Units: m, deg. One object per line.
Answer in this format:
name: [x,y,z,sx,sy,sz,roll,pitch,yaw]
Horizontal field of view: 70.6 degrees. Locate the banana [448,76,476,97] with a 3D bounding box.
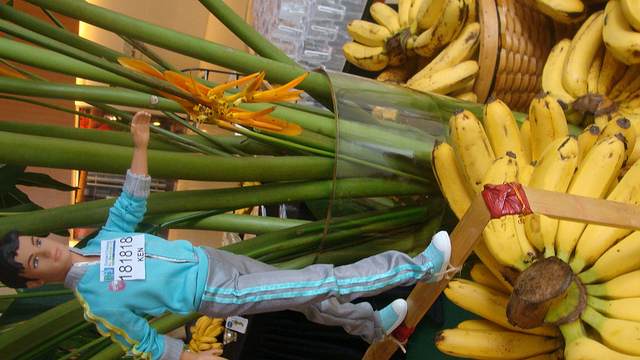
banana: [0.632,-0.397,1.993,0.143,0.038,0.047,-42,6,-6]

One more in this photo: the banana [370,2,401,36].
banana: [0.310,-0.794,2.229,0.098,0.078,0.285,35,10,-29]

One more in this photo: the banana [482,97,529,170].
banana: [0.585,-0.160,1.485,0.091,0.273,0.089,-25,7,-1]

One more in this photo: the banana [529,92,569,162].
banana: [0.770,-0.133,1.530,0.083,0.303,0.111,-31,32,-23]

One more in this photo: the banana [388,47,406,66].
banana: [0.364,-0.582,2.127,0.062,0.068,0.052,-2,12,3]

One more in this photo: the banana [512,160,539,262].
banana: [0.622,0.077,1.289,0.100,0.114,0.364,-3,21,29]

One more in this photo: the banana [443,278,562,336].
banana: [0.563,0.380,1.363,0.346,0.088,0.106,24,14,11]

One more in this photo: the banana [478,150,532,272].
banana: [0.521,0.089,1.317,0.190,0.300,0.102,-2,15,4]

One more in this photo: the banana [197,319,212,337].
banana: [-0.621,0.789,2.422,0.079,0.094,0.029,-2,1,-8]

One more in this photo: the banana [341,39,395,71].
banana: [0.253,-0.601,2.279,0.312,0.201,0.100,18,-22,47]

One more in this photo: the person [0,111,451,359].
person: [-0.366,0.304,1.716,1.584,0.646,0.639,10,22,-11]

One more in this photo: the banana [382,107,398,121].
banana: [0.235,-0.204,1.454,0.047,0.043,0.012,9,-19,-22]

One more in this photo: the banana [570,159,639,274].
banana: [0.827,0.117,1.314,0.070,0.333,0.117,34,7,13]

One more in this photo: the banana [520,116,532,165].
banana: [0.693,-0.141,1.530,0.036,0.132,0.041,-5,14,15]

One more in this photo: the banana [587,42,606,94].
banana: [1.090,-0.437,1.778,0.045,0.204,0.071,19,-15,-14]

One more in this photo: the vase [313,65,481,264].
vase: [0.189,-0.032,1.707,0.707,0.598,0.610,6,-9,-15]

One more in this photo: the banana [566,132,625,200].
banana: [0.834,-0.037,1.364,0.064,0.208,0.069,37,2,-12]

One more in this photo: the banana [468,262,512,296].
banana: [0.544,0.318,1.474,0.179,0.051,0.063,35,28,-7]

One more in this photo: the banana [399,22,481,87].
banana: [0.535,-0.550,1.963,0.095,0.448,0.156,45,9,-9]

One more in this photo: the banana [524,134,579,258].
banana: [0.688,0.022,1.411,0.146,0.420,0.117,13,-9,11]

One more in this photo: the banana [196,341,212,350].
banana: [-0.616,0.870,2.381,0.099,0.032,0.042,-1,1,7]

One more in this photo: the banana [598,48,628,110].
banana: [1.137,-0.392,1.748,0.058,0.252,0.096,11,-9,26]

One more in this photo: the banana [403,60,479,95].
banana: [0.539,-0.423,1.966,0.095,0.115,0.358,-35,13,-38]
